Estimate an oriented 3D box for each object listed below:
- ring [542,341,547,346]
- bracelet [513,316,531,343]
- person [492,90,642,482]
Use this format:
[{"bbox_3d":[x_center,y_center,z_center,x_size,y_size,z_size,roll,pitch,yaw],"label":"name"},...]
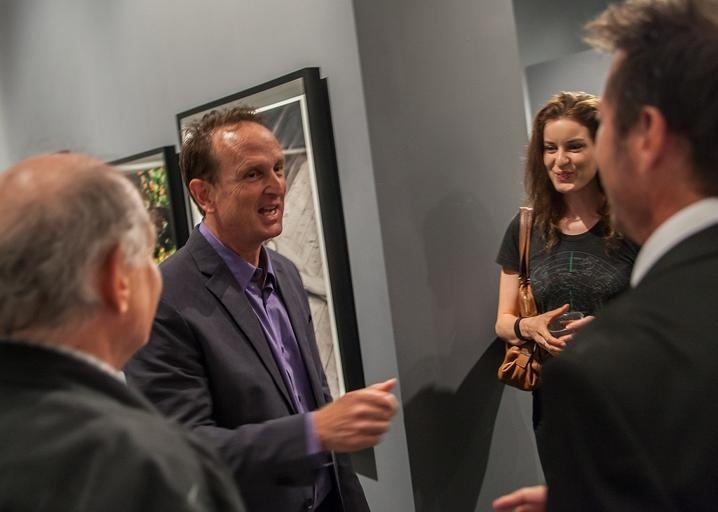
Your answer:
[{"bbox_3d":[0.844,0.400,2.421,0.004,0.017,0.018,2,1,-19],"label":"ring"},{"bbox_3d":[0.781,0.354,2.572,0.037,0.107,0.087,-19,-40,35],"label":"bracelet"},{"bbox_3d":[1.051,0.408,2.660,0.750,2.315,0.719,4,16,36],"label":"person"}]
